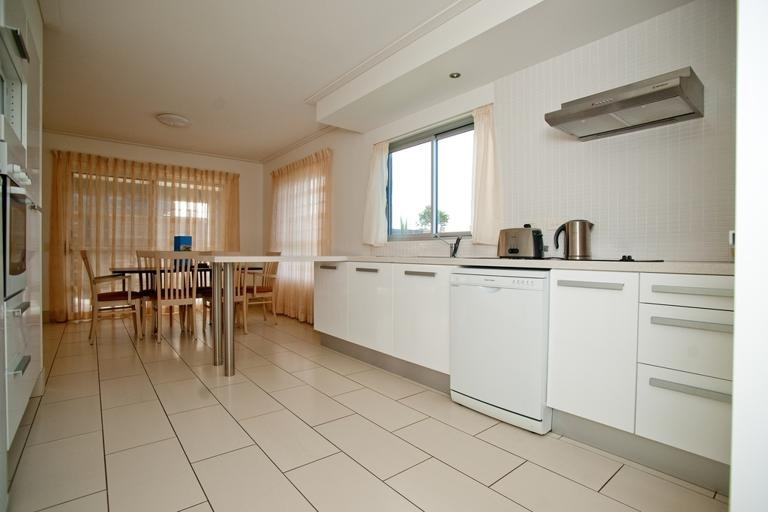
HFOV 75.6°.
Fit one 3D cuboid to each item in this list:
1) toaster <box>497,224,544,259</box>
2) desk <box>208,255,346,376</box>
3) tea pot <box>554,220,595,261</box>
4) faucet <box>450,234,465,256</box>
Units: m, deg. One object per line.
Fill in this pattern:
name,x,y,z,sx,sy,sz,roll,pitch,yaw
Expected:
toaster,1.172,-0.107,4.221,0.294,0.264,0.382,0,0,-40
desk,-1.158,0.448,5.111,1.202,1.144,1.194,-1,3,-30
tea pot,1.565,-0.112,4.052,0.318,0.345,0.216,0,-15,14
faucet,0.720,-0.103,4.921,0.052,0.181,0.137,20,27,36
